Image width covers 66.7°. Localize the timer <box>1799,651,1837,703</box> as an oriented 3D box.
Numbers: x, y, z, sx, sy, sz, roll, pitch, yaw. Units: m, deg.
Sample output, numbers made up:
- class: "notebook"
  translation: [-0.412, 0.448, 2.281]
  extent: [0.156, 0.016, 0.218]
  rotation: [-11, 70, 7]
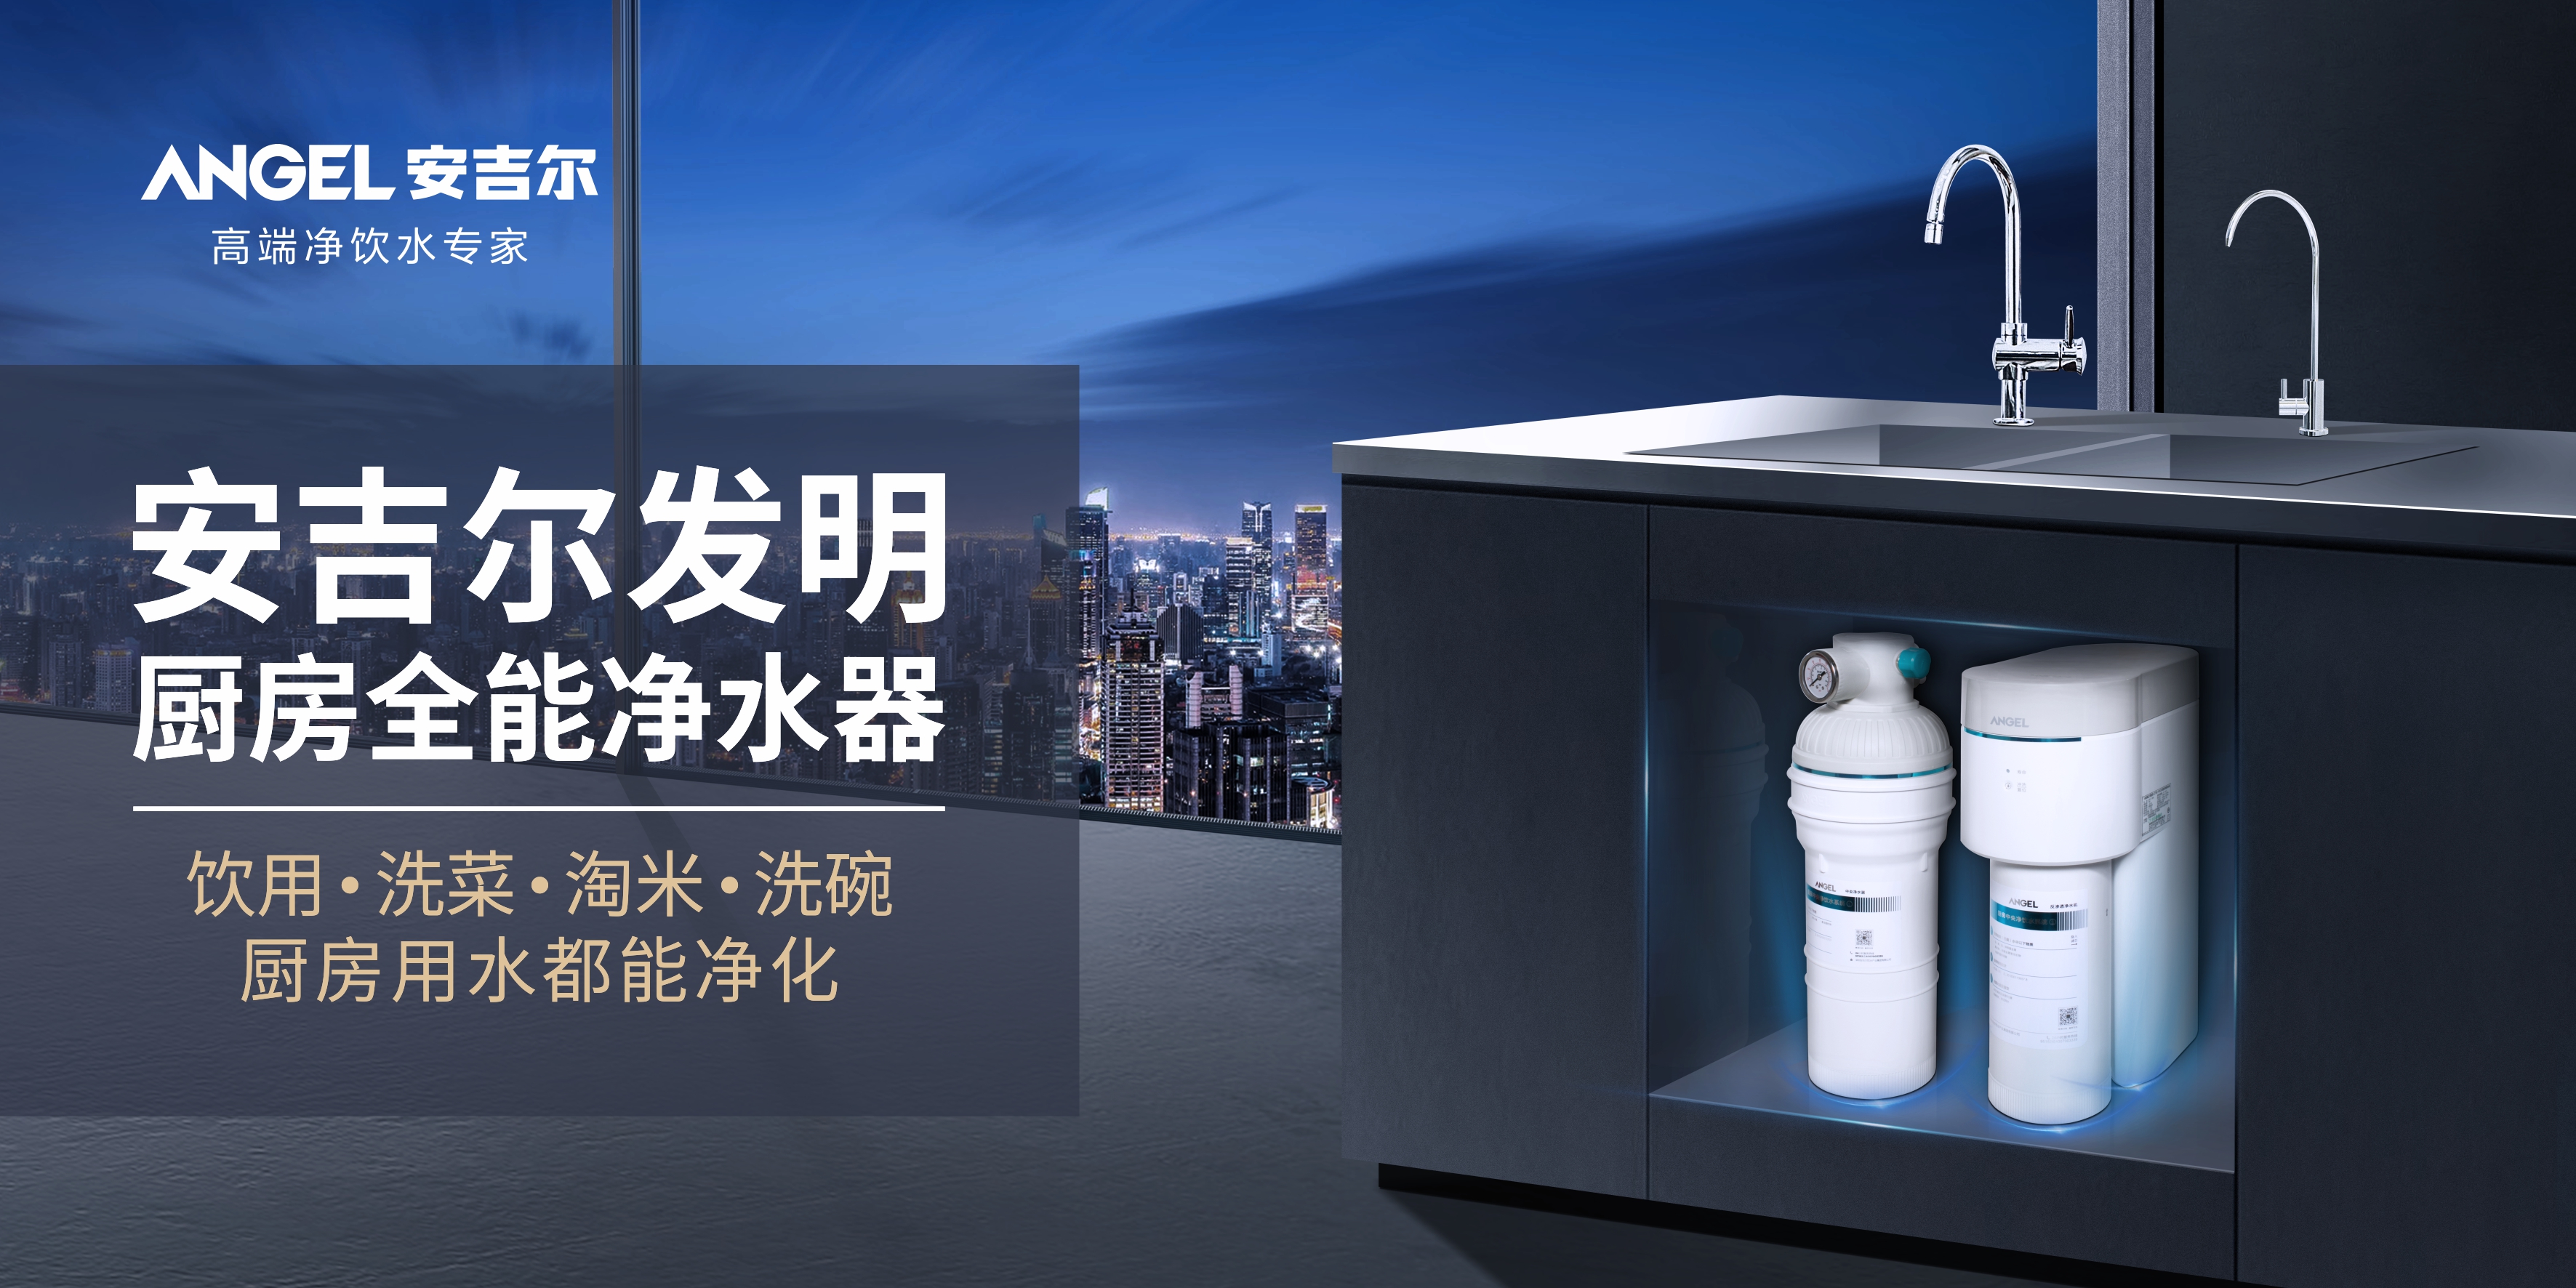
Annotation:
- class: "timer"
  translation: [1.044, 0.060, 3.848]
  extent: [0.041, 0.100, 0.122]
  rotation: [-3, 5, -42]
